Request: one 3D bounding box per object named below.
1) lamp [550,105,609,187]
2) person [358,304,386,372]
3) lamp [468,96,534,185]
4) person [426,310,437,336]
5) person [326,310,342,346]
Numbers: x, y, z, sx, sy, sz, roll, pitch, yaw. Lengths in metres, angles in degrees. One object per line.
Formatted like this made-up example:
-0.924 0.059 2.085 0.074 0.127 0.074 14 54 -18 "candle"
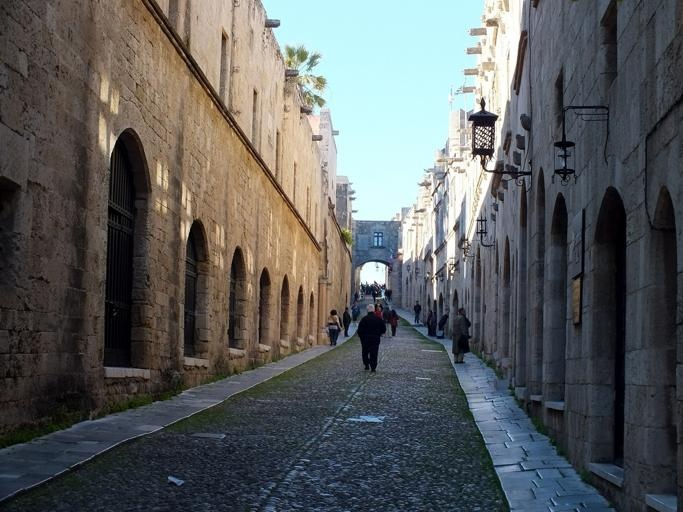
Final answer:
3.229 -1.481 8.991 0.675 1.288 0.357 0 -21 25 "lamp"
0.786 2.199 17.925 0.676 1.749 1.221 1 -2 0 "person"
2.748 -2.110 11.844 1.196 1.713 0.559 0 -20 14 "lamp"
5.063 3.790 37.177 0.400 1.396 1.291 1 -2 3 "person"
-0.359 3.136 29.676 0.463 1.620 0.481 3 11 20 "person"
